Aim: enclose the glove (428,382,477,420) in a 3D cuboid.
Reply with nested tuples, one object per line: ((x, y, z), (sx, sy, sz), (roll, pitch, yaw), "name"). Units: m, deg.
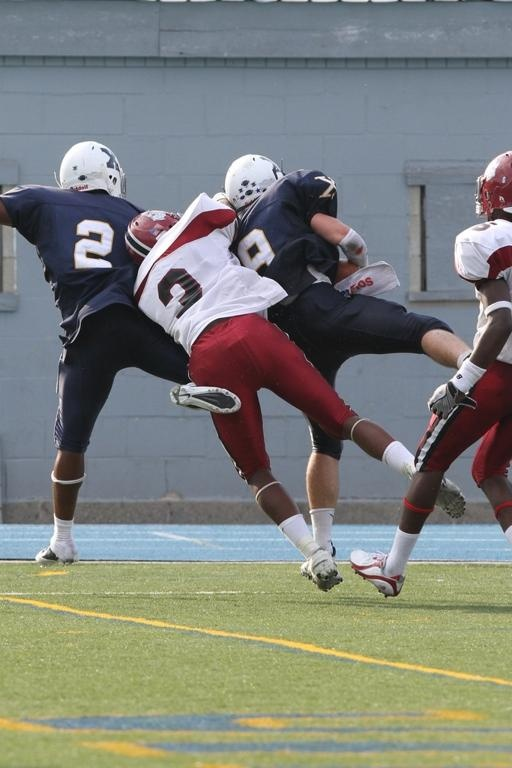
((0.595, 0.040, 4.243), (0.104, 0.140, 0.066), (46, 21, 5), "glove")

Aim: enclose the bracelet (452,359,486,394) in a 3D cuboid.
((0.647, -0.034, 4.147), (0.069, 0.099, 0.072), (33, -6, 20), "bracelet")

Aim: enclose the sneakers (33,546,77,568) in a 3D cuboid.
((-0.813, 0.699, 5.559), (0.178, 0.068, 0.062), (4, -8, 1), "sneakers")

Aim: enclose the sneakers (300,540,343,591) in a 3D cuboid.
((0.213, 0.567, 4.300), (0.124, 0.107, 0.219), (39, -5, 12), "sneakers")

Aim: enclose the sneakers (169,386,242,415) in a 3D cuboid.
((-0.157, 0.033, 4.329), (0.250, 0.079, 0.093), (9, 17, 25), "sneakers")

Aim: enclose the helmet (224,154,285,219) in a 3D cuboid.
((-0.028, -0.793, 5.085), (0.204, 0.197, 0.247), (0, 4, 39), "helmet")

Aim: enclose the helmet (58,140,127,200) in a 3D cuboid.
((-0.661, -0.897, 5.546), (0.243, 0.227, 0.307), (-6, 3, 14), "helmet")
